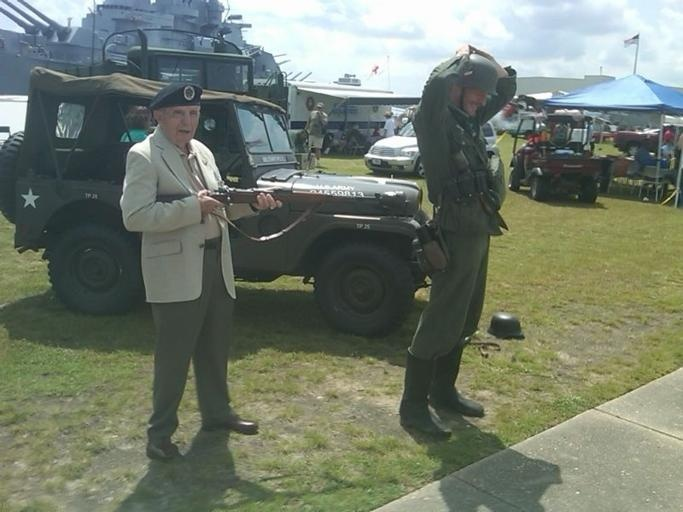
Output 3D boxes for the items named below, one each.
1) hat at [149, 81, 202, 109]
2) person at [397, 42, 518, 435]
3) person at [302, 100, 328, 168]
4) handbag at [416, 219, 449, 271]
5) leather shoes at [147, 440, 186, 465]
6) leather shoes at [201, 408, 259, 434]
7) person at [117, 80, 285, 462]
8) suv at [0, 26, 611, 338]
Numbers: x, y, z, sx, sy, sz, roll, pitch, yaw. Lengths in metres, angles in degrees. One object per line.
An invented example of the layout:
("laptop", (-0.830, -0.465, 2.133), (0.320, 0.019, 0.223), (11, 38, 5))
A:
("hat", (-1.097, -1.035, 4.563), (0.235, 0.079, 0.208), (2, 16, 29))
("person", (0.808, -0.117, 5.065), (0.568, 2.737, 0.893), (14, 19, 40))
("person", (-0.678, -3.556, 19.991), (0.652, 1.703, 0.504), (10, 9, 23))
("handbag", (0.646, -0.054, 4.952), (0.175, 0.381, 0.201), (-6, 16, -25))
("leather shoes", (-1.204, 1.318, 4.691), (0.185, 0.081, 0.138), (4, 17, -23))
("leather shoes", (-0.790, 1.197, 5.023), (0.257, 0.078, 0.200), (6, 4, 5))
("person", (-1.040, 0.086, 4.748), (0.835, 2.458, 0.603), (-8, 17, -30))
("suv", (-1.388, -0.986, 7.959), (4.776, 2.719, 2.498), (2, 11, 8))
